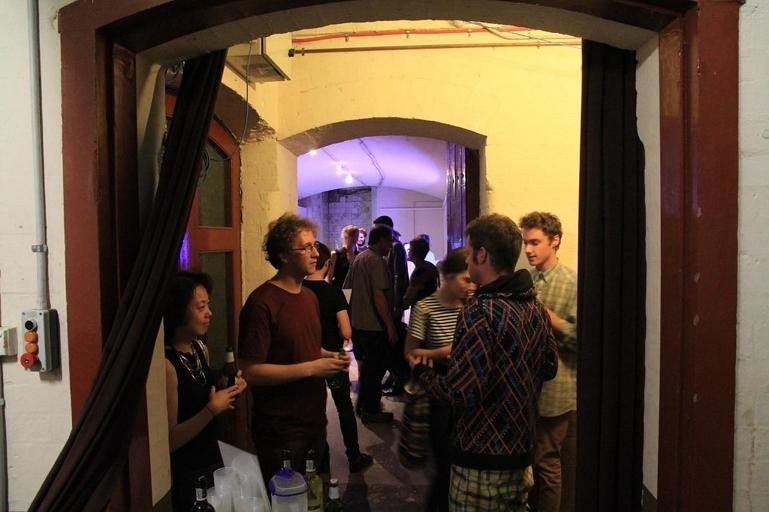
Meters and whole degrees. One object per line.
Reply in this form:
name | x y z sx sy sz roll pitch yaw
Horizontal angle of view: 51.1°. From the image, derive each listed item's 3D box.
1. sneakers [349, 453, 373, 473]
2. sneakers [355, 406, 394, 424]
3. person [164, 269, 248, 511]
sneakers | -0.154 1.344 5.233 0.071 0.137 0.194 10 15 40
sneakers | -0.075 1.201 6.077 0.281 0.121 0.104 -2 14 -8
person | -0.881 0.645 3.904 0.403 0.845 0.302 3 -2 -21
